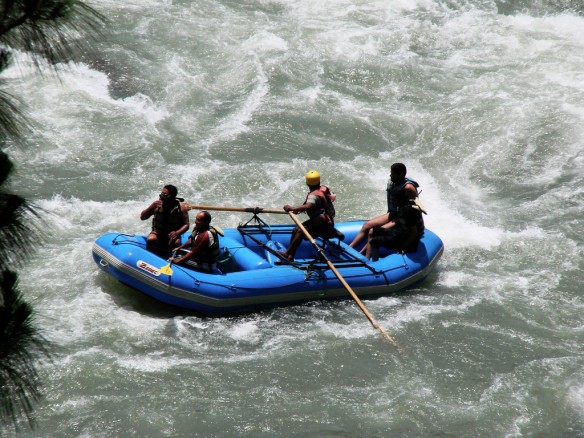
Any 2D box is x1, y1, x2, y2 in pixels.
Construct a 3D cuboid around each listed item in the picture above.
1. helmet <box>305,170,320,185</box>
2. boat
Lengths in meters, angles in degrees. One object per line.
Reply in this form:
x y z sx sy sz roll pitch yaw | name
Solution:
0.376 -0.786 15.953 0.375 0.228 0.280 -1 44 1 | helmet
-0.311 0.817 15.759 5.601 0.713 2.298 -3 22 -14 | boat
